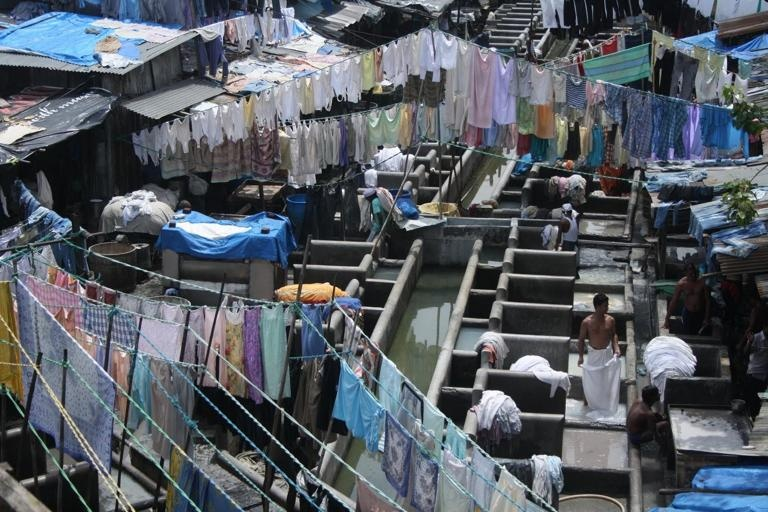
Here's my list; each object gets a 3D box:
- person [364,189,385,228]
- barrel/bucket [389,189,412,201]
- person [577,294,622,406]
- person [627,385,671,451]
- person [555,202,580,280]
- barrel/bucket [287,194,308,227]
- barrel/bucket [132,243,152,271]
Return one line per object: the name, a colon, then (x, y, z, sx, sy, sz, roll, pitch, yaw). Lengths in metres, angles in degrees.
person: (-0.194, -1.141, 27.305, 0.250, 0.761, 0.573, 1, 11, -12)
barrel/bucket: (0.432, -1.480, 28.476, 0.354, 0.142, 0.373, 2, 13, 0)
person: (4.060, 1.814, 22.201, 0.757, 2.344, 0.610, 0, 12, 9)
person: (4.722, 2.870, 21.124, 0.730, 1.109, 0.487, 1, 13, 12)
person: (4.186, -0.455, 26.786, 0.471, 1.604, 1.642, 0, 13, 9)
barrel/bucket: (-1.992, -1.073, 27.195, 0.569, 0.696, 0.600, 5, 14, -1)
barrel/bucket: (-5.222, 0.005, 25.632, 0.435, 0.549, 0.462, 0, 19, 0)
